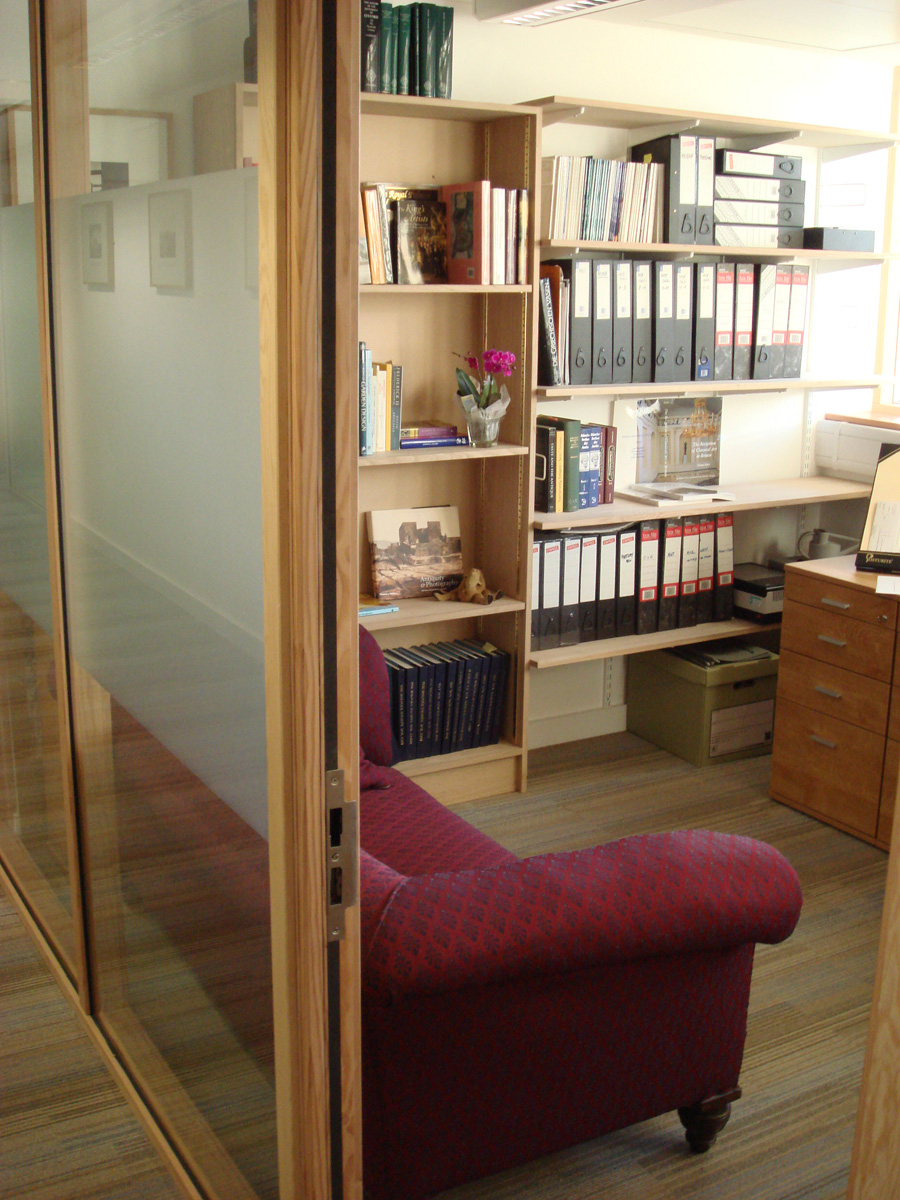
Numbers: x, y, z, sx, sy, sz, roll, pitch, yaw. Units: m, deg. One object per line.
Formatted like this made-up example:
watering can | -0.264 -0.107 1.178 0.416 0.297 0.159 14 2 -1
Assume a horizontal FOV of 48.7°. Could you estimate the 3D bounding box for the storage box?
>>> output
storage box | 0.980 0.373 3.970 0.471 0.421 0.470 -6 12 -29
